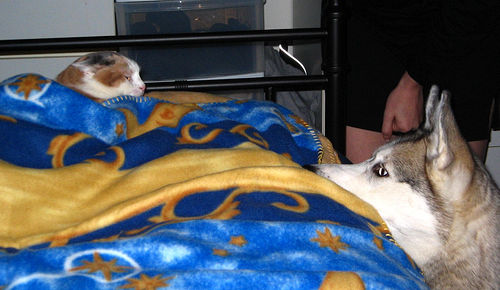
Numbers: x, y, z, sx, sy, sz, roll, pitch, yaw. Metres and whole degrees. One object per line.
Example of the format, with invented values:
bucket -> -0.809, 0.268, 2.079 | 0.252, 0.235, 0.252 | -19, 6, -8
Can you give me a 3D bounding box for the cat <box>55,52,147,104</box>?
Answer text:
cat -> -0.708, -0.359, 3.139 | 0.362, 0.198, 0.247 | -7, 16, -24
